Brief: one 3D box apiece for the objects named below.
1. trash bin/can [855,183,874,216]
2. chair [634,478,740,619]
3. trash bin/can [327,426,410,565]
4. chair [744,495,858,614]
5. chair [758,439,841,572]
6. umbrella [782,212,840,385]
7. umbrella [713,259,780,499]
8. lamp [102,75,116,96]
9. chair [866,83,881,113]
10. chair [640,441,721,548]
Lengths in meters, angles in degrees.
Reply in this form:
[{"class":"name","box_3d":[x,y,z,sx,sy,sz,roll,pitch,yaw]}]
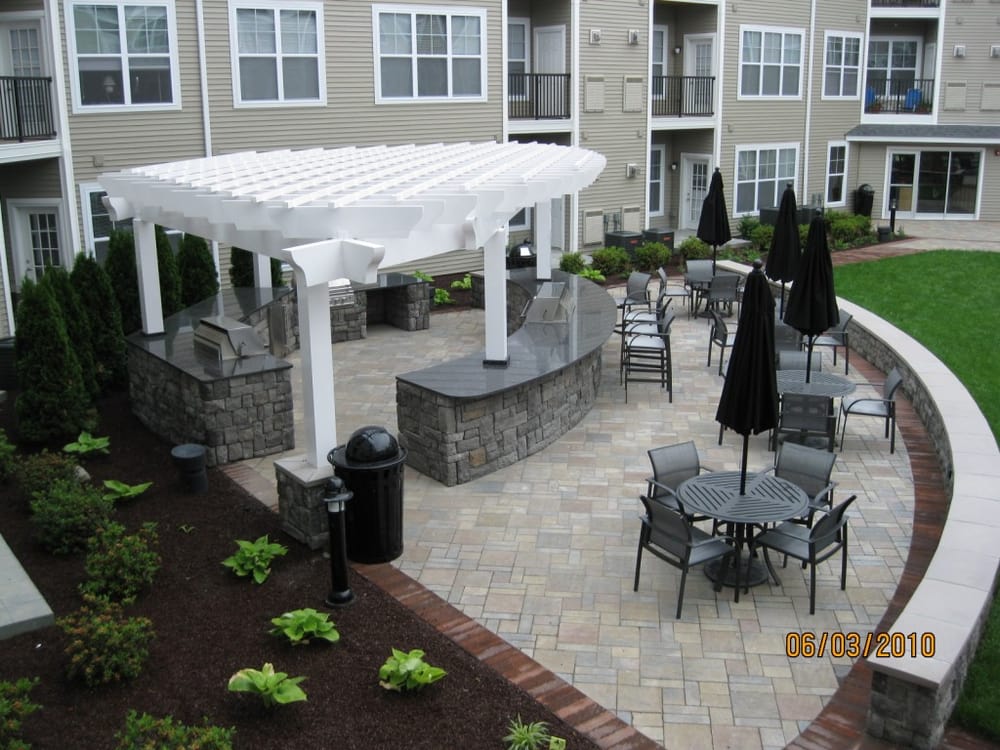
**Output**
[{"class":"trash bin/can","box_3d":[14.760,-7.131,29.905,0.979,1.294,0.631,-16,22,-39]},{"class":"chair","box_3d":[1.867,1.689,7.369,0.980,1.128,0.919,8,11,26]},{"class":"trash bin/can","box_3d":[-1.230,1.327,8.134,0.854,1.247,0.801,-8,-2,-39]},{"class":"chair","box_3d":[2.996,1.837,7.405,0.782,1.039,0.861,-19,27,-36]},{"class":"chair","box_3d":[3.164,1.330,8.001,0.837,0.910,0.828,-12,21,-24]},{"class":"umbrella","box_3d":[4.230,-1.244,9.875,0.618,1.472,0.603,-18,23,-41]},{"class":"umbrella","box_3d":[2.441,-0.224,7.189,0.533,1.531,0.575,2,18,13]},{"class":"lamp","box_3d":[-8.461,-6.327,15.967,0.313,0.340,0.311,-3,17,-12]},{"class":"chair","box_3d":[15.174,-11.279,29.892,0.559,1.144,0.798,5,18,22]},{"class":"chair","box_3d":[2.079,1.304,8.112,0.833,0.925,0.916,10,19,40]}]
